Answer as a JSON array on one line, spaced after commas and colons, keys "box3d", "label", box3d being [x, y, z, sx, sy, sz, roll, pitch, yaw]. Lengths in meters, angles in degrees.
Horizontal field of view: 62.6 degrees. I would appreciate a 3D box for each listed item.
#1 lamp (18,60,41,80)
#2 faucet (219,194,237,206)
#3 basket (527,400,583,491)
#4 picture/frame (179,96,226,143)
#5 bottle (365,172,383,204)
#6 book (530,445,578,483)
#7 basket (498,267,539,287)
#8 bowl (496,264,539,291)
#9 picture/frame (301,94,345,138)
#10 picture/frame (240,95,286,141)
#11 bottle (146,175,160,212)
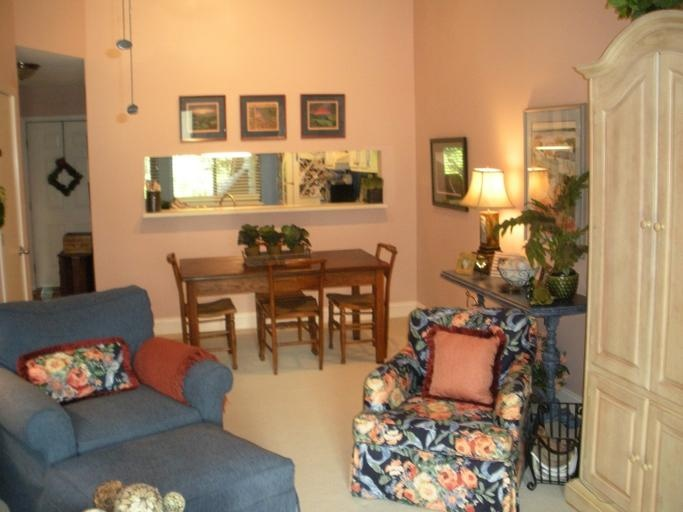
[{"box3d": [-3.680, -2.162, 6.579, 0.272, 0.101, 0.198, -8, 10, -44], "label": "lamp"}, {"box3d": [-1.341, -0.656, 6.598, 0.193, 0.142, 0.050, -3, 12, -13], "label": "faucet"}, {"box3d": [1.361, 1.238, 3.582, 0.333, 0.362, 0.483, 1, 19, 8], "label": "basket"}, {"box3d": [-1.590, -1.563, 6.332, 0.506, 0.498, 0.042, -2, 7, -18], "label": "picture/frame"}, {"box3d": [0.392, -0.790, 6.786, 0.227, 0.319, 0.134, -1, 12, 0], "label": "bottle"}, {"box3d": [1.338, 1.314, 3.584, 0.252, 0.216, 0.193, -1, 5, -6], "label": "book"}, {"box3d": [1.296, 0.158, 4.176, 0.167, 0.087, 0.167, -3, 6, -18], "label": "basket"}, {"box3d": [1.290, 0.141, 4.169, 0.200, 0.139, 0.198, -5, 8, 1], "label": "bowl"}, {"box3d": [-0.240, -1.651, 6.567, 0.496, 0.478, 0.035, -2, 7, -13], "label": "picture/frame"}, {"box3d": [-0.924, -1.606, 6.447, 0.504, 0.484, 0.039, -1, 6, -15], "label": "picture/frame"}, {"box3d": [-2.156, -0.665, 6.426, 0.161, 0.359, 0.154, 1, 7, 0], "label": "bottle"}]
